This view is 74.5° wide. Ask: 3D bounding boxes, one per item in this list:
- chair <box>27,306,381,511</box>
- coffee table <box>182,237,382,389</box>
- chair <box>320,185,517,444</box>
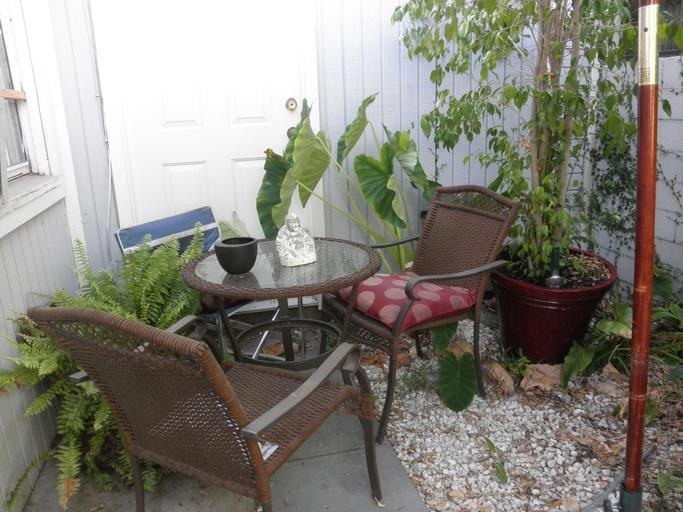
[{"bbox_3d":[-0.525,0.591,1.630,0.445,0.769,0.539,13,38,23],"label":"chair"},{"bbox_3d":[-0.259,0.125,2.030,0.681,0.531,0.687,-10,23,-21],"label":"coffee table"},{"bbox_3d":[0.388,0.185,2.423,0.801,1.056,0.737,-9,17,-29],"label":"chair"}]
